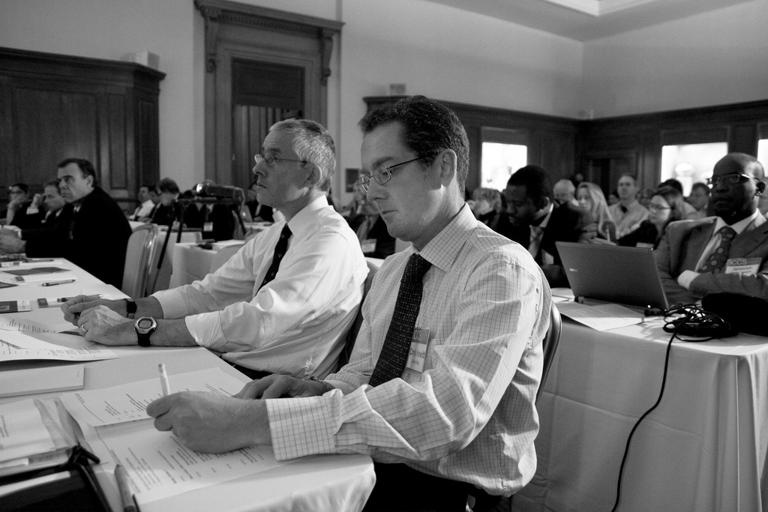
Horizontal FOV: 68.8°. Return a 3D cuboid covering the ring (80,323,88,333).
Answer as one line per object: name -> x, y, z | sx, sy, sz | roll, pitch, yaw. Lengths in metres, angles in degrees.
ring -> -1.169, 0.280, 2.163 | 0.036, 0.037, 0.037 | -2, -9, 0

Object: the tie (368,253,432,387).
tie -> 0.066, 0.206, 1.785 | 0.124, 0.527, 0.028 | 8, -26, 26

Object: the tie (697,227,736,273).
tie -> 1.896, -0.014, 3.181 | 0.107, 0.325, 0.084 | 24, -14, 19

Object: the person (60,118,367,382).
person -> -0.824, -0.021, 2.803 | 1.283, 1.419, 0.949 | 4, -3, -29

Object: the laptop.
laptop -> 1.110, 0.094, 2.733 | 0.456, 0.336, 0.344 | 5, 36, 47
